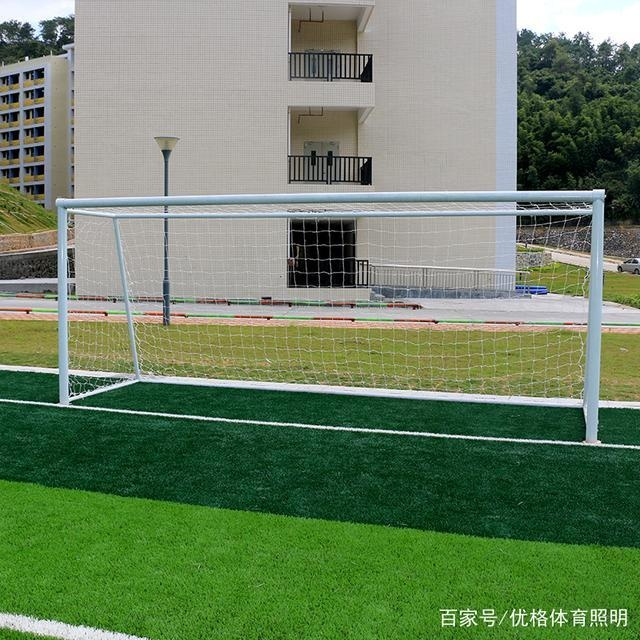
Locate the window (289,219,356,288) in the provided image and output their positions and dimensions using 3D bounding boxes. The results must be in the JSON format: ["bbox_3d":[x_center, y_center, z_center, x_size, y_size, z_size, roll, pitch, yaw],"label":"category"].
[{"bbox_3d":[0.055,-1.915,24.591,2.078,2.137,0.119,0,-2,-21],"label":"window"}]

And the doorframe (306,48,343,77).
[{"bbox_3d":[0.074,-7.858,25.839,1.101,1.033,0.259,-2,6,-18],"label":"doorframe"}]

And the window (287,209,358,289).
[{"bbox_3d":[0.052,-1.825,22.636,2.036,2.109,0.133,1,1,-19],"label":"window"}]

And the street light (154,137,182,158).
[{"bbox_3d":[-3.059,-3.489,16.751,0.380,0.479,1.335,-1,6,-11],"label":"street light"}]
